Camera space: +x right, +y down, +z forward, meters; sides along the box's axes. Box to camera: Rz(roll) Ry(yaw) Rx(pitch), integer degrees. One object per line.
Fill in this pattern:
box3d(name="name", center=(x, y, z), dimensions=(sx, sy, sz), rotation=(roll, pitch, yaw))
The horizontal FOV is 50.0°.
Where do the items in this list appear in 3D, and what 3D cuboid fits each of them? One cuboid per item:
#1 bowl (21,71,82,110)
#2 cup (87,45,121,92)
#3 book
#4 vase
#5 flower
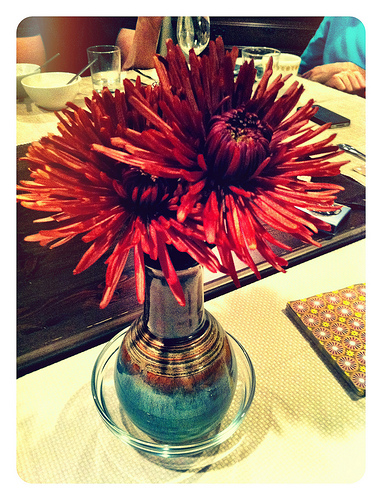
box3d(name="bowl", center=(-0.275, -0.306, 0.839), dimensions=(0.085, 0.046, 0.087), rotation=(21, 31, -14))
box3d(name="cup", center=(-0.190, -0.397, 0.935), dimensions=(0.063, 0.075, 0.068), rotation=(-3, 14, 1))
box3d(name="book", center=(0.127, 0.089, 0.398), dimensions=(0.075, 0.010, 0.072), rotation=(-15, 44, -23))
box3d(name="vase", center=(-0.005, 0.077, 0.285), dimensions=(0.089, 0.128, 0.093), rotation=(-4, 3, -12))
box3d(name="flower", center=(-0.002, -0.057, 0.259), dimensions=(0.181, 0.096, 0.186), rotation=(1, 11, 14))
